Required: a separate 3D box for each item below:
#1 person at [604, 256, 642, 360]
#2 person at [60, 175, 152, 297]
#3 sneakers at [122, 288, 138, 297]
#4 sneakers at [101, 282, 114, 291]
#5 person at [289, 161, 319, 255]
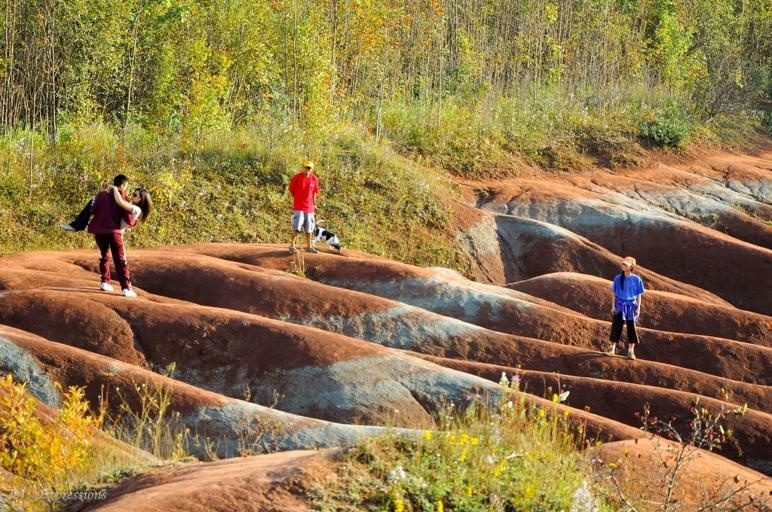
[{"bbox_3d":[5.229,1.100,25.020,0.689,2.087,1.561,7,12,13],"label":"person"},{"bbox_3d":[-5.693,-0.471,23.877,1.382,2.374,0.806,7,11,10],"label":"person"},{"bbox_3d":[-5.258,0.777,23.681,0.118,0.181,0.340,13,12,30],"label":"sneakers"},{"bbox_3d":[-5.772,0.651,23.848,0.118,0.159,0.321,4,1,22],"label":"sneakers"},{"bbox_3d":[-1.866,-1.126,26.149,0.707,1.985,0.996,3,11,-8],"label":"person"}]
